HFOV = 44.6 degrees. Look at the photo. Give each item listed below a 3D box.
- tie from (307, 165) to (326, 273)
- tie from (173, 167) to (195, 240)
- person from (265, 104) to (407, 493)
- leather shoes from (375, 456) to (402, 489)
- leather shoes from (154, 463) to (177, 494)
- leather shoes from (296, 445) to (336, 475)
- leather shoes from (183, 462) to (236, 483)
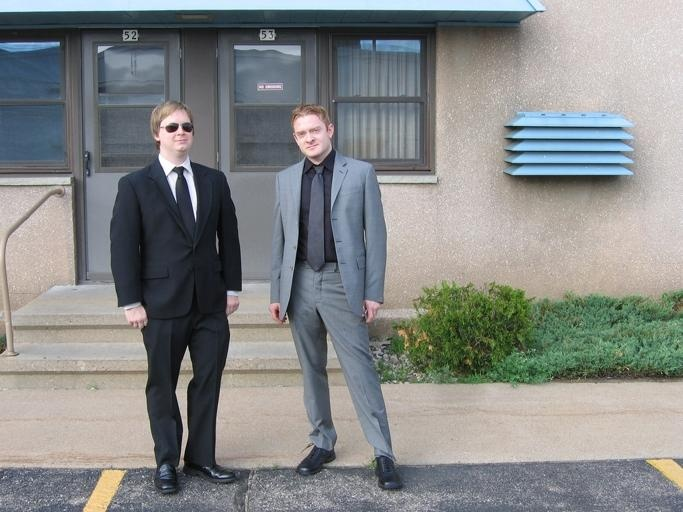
[{"bbox_3d":[-0.179,-0.269,5.911,0.123,0.728,0.164,0,7,-1],"label":"tie"},{"bbox_3d":[-1.087,-0.357,5.814,0.118,0.520,0.073,-5,-7,-16],"label":"tie"},{"bbox_3d":[-0.057,0.269,5.889,0.918,2.639,0.496,2,7,9],"label":"person"},{"bbox_3d":[0.322,1.514,5.777,0.123,0.111,0.272,-1,-1,-12],"label":"leather shoes"},{"bbox_3d":[-1.210,1.545,5.794,0.164,0.187,0.146,-1,7,-11],"label":"leather shoes"},{"bbox_3d":[-0.188,1.475,6.051,0.134,0.129,0.310,1,5,41],"label":"leather shoes"},{"bbox_3d":[-0.915,1.540,5.972,0.393,0.157,0.128,3,2,14],"label":"leather shoes"}]
